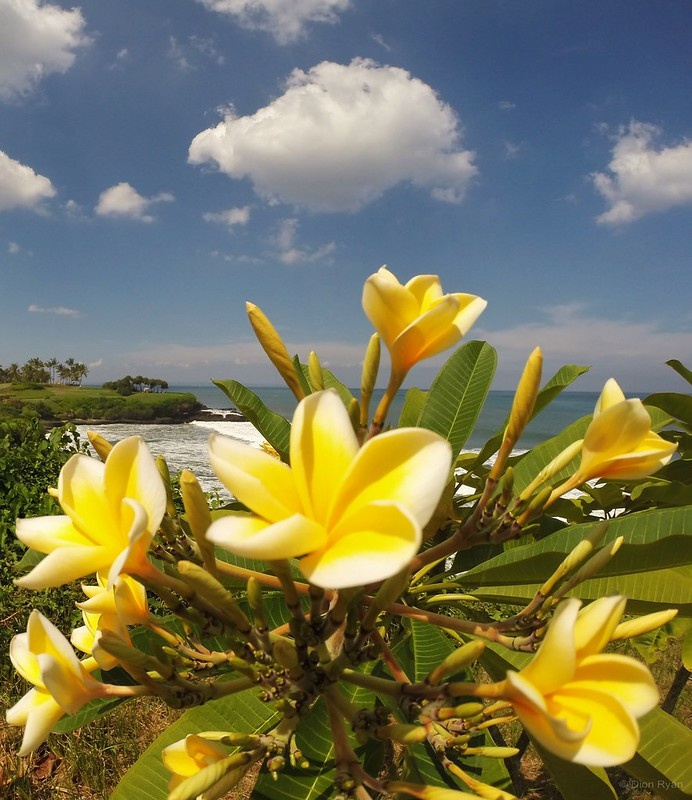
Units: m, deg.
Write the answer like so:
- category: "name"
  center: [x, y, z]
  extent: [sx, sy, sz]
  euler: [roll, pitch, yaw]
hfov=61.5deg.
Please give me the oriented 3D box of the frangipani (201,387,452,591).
- category: "frangipani"
  center: [-0.042, 0.121, 0.810]
  extent: [0.314, 0.242, 0.298]
  euler: [-4, 7, -33]

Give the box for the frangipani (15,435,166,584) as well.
- category: "frangipani"
  center: [-0.453, 0.214, 1.003]
  extent: [0.224, 0.287, 0.325]
  euler: [-4, 6, -29]

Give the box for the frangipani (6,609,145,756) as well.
- category: "frangipani"
  center: [-0.552, 0.521, 1.139]
  extent: [0.220, 0.266, 0.294]
  euler: [-4, 7, -31]

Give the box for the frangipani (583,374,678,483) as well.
- category: "frangipani"
  center: [0.604, 0.071, 1.227]
  extent: [0.101, 0.226, 0.182]
  euler: [-33, 14, 49]

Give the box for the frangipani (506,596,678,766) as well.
- category: "frangipani"
  center: [0.371, 0.423, 0.909]
  extent: [0.386, 0.241, 0.147]
  euler: [22, -32, -40]
